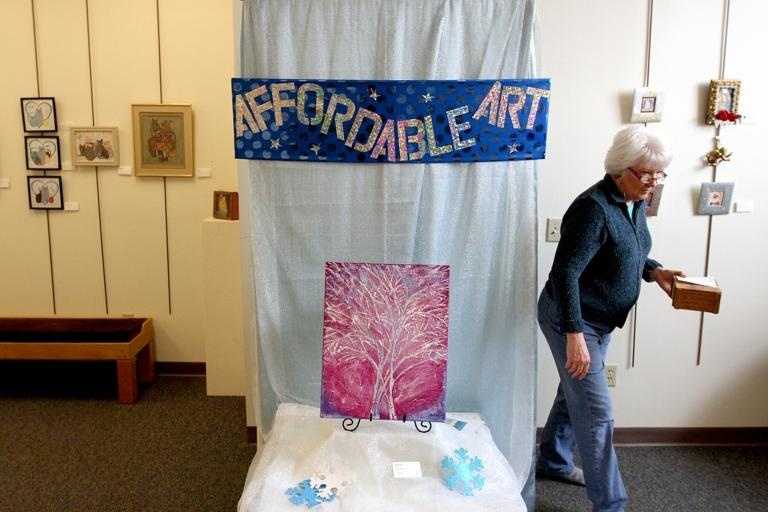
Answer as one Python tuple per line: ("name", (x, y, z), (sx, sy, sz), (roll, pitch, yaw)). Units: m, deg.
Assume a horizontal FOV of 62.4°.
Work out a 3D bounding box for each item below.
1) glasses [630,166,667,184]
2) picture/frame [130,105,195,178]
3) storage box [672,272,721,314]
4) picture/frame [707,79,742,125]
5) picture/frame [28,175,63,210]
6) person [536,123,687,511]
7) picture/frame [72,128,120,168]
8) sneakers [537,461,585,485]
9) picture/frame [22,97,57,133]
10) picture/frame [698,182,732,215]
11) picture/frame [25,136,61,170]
("glasses", (1.485, -0.457, 3.588), (0.210, 0.088, 0.051), (-3, 16, -11))
("picture/frame", (-1.727, -0.932, 4.997), (0.499, 0.640, 0.030), (0, 4, -1))
("storage box", (1.841, 0.215, 3.742), (0.220, 0.163, 0.229), (3, 7, 23))
("picture/frame", (2.203, -1.017, 4.127), (0.258, 0.332, 0.041), (1, 4, -7))
("picture/frame", (-2.677, -0.521, 5.046), (0.244, 0.269, 0.017), (1, 17, 1))
("person", (1.253, 0.382, 3.698), (0.660, 2.187, 0.555), (2, 15, 7))
("picture/frame", (-2.260, -0.873, 5.000), (0.262, 0.245, 0.021), (0, 5, -2))
("sneakers", (1.170, 1.437, 4.215), (0.378, 0.185, 0.132), (-3, 3, 9))
("picture/frame", (-2.685, -1.126, 4.975), (0.237, 0.262, 0.019), (1, 4, -5))
("picture/frame", (2.178, -0.392, 4.201), (0.177, 0.196, 0.024), (-5, 10, -5))
("picture/frame", (-2.678, -0.828, 5.012), (0.233, 0.257, 0.026), (0, 10, 3))
